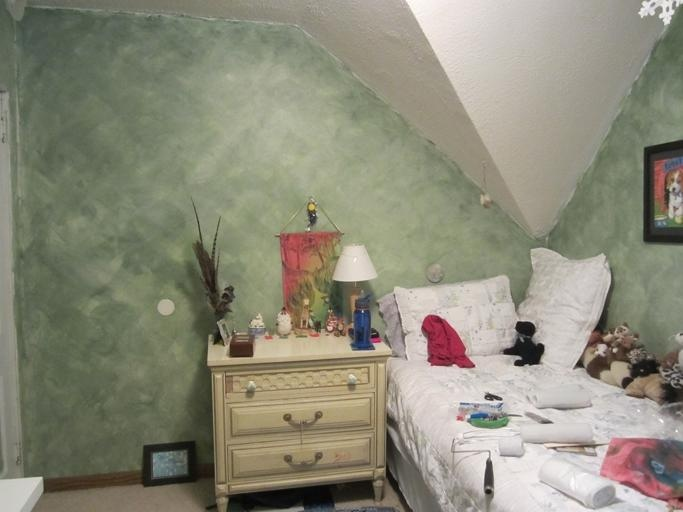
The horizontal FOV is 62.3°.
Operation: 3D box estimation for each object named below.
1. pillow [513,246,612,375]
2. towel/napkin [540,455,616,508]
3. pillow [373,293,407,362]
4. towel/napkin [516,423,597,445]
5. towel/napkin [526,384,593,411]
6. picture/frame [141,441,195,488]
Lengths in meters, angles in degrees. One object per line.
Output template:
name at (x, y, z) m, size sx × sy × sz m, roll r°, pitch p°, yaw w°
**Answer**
pillow at (1.318, 0.311, 3.349) m, size 0.167 × 0.597 × 0.564 m, roll 11°, pitch 3°, yaw -30°
towel/napkin at (0.942, 0.882, 2.274) m, size 0.131 × 0.096 × 0.221 m, roll 4°, pitch 6°, yaw -26°
pillow at (0.319, 0.431, 3.488) m, size 0.238 × 0.344 × 0.081 m, roll -11°, pitch -11°, yaw 0°
towel/napkin at (0.971, 0.794, 2.527) m, size 0.326 × 0.084 × 0.076 m, roll -3°, pitch -2°, yaw 7°
towel/napkin at (1.115, 0.709, 2.858) m, size 0.328 × 0.109 × 0.206 m, roll -2°, pitch -2°, yaw 5°
picture/frame at (-1.072, 1.287, 3.449) m, size 0.239 × 0.224 × 0.018 m, roll 0°, pitch -11°, yaw -11°
